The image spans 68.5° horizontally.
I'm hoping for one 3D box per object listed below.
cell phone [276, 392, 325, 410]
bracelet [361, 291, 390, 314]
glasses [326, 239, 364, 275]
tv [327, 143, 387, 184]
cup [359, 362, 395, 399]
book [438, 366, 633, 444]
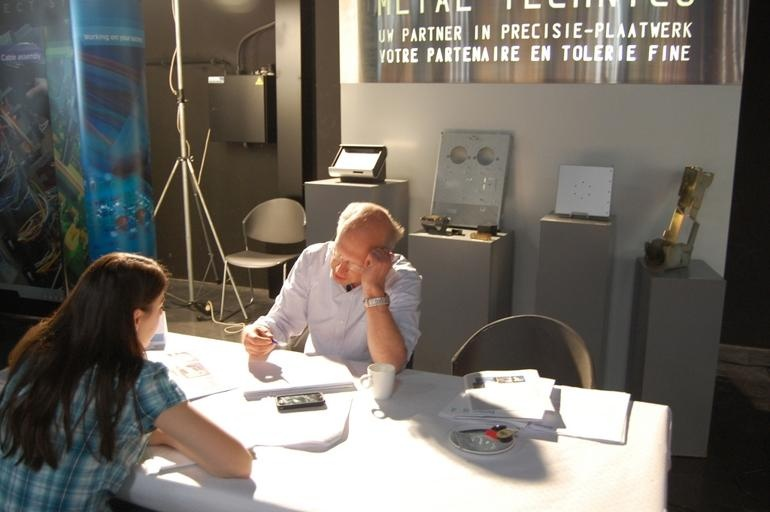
[{"bbox_3d":[-0.309,0.534,2.078,0.124,0.022,0.069,-3,19,-7],"label":"cell phone"},{"bbox_3d":[-0.038,0.198,2.445,0.094,0.059,0.095,1,8,8],"label":"bracelet"},{"bbox_3d":[-0.173,0.009,2.559,0.114,0.073,0.151,26,-15,3],"label":"glasses"},{"bbox_3d":[-0.181,-0.628,3.826,0.384,0.277,0.274,5,23,26],"label":"tv"},{"bbox_3d":[-0.019,0.477,2.183,0.147,0.110,0.096,0,3,27],"label":"cup"},{"bbox_3d":[0.593,0.556,2.057,0.398,0.046,0.311,6,17,20],"label":"book"}]
